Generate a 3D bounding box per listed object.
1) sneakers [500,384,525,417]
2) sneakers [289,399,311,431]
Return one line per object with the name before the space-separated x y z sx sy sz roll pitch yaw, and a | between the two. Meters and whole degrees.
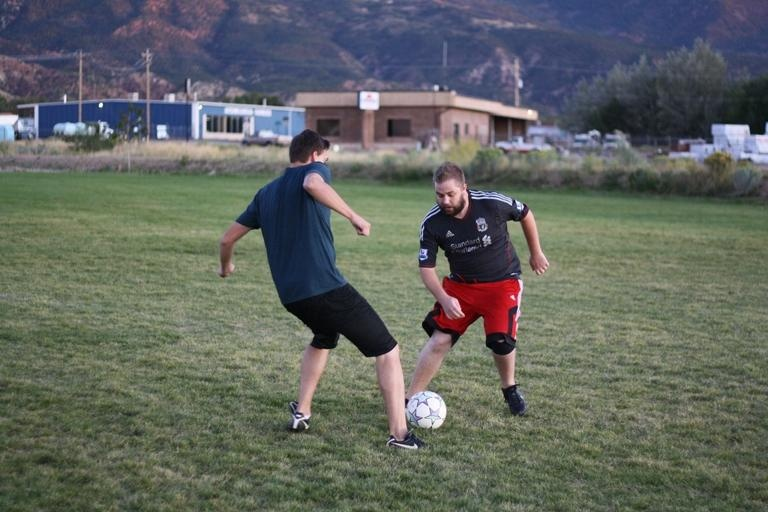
sneakers | 2.163 2.405 16.282 0.223 0.654 0.256 -23 -14 12
sneakers | -1.394 2.629 15.823 0.192 0.248 0.523 -1 22 -12
